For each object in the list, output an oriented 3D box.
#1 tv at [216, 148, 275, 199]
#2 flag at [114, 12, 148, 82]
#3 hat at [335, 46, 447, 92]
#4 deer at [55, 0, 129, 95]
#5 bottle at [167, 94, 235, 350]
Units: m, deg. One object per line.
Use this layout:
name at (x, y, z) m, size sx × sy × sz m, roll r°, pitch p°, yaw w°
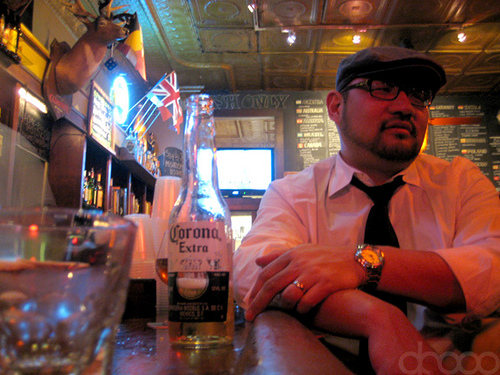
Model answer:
tv at (-0.093, -0.194, 5.577) m, size 0.768 × 1.051 × 0.142 m, roll 2°, pitch -12°, yaw -8°
flag at (-1.427, -1.695, 4.607) m, size 0.474 × 0.392 × 1.077 m, roll -1°, pitch -7°, yaw -25°
hat at (0.670, -0.563, 1.798) m, size 0.494 × 0.176 × 0.371 m, roll 9°, pitch 8°, yaw 3°
deer at (-1.510, -1.329, 3.747) m, size 0.631 × 0.944 × 0.211 m, roll 6°, pitch 3°, yaw -1°
bottle at (-0.084, 0.057, 0.786) m, size 0.158 × 0.339 × 0.211 m, roll 6°, pitch 3°, yaw -8°
